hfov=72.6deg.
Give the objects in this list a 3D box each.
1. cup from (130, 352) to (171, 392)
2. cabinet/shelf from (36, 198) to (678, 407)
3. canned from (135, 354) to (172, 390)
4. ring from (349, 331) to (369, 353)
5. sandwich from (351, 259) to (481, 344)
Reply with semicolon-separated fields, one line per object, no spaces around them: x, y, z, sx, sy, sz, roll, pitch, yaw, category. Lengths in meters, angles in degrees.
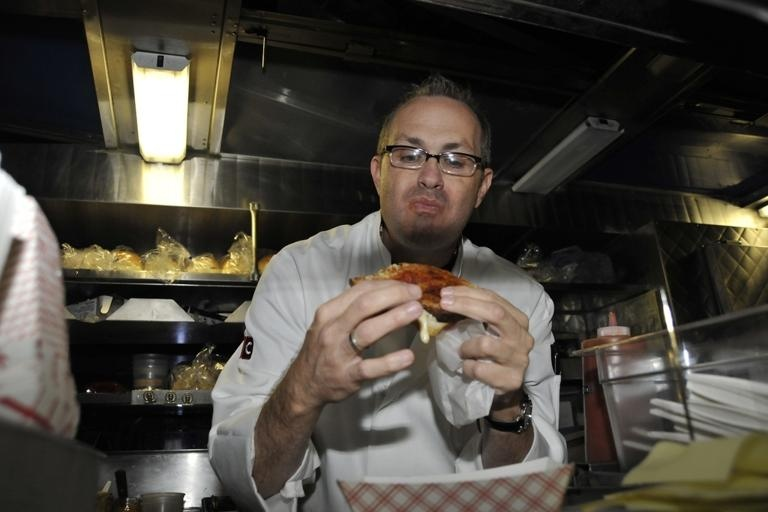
-1.242;0.647;2.877;0.194;0.209;0.199;-1;-14;0;cup
-0.265;0.176;2.197;1.564;0.705;0.212;4;-35;-11;cabinet/shelf
-1.272;0.634;2.870;0.188;0.201;0.192;6;-16;-32;canned
-0.053;0.211;1.254;0.015;0.049;0.049;-28;32;-32;ring
0.111;0.095;1.400;0.252;0.075;0.255;30;33;29;sandwich
